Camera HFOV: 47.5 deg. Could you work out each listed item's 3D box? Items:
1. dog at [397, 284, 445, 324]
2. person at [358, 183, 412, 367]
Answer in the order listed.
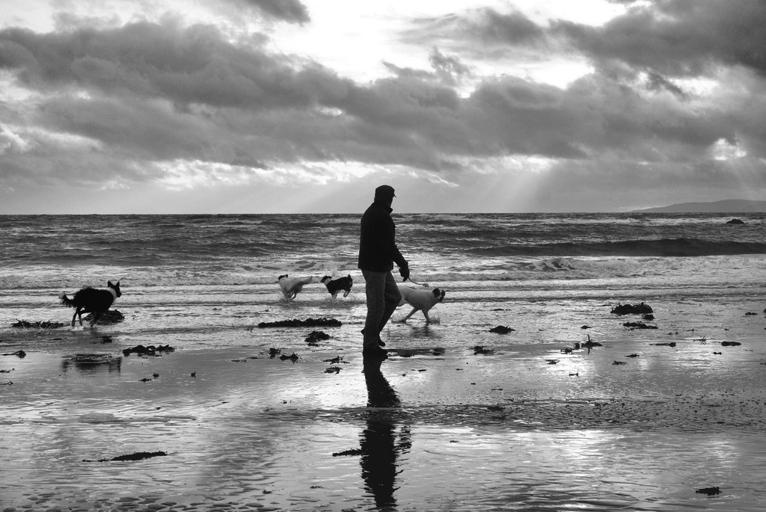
[{"bbox_3d":[0.536,0.914,16.661,1.576,0.678,0.386,10,-23,-34],"label":"dog"},{"bbox_3d":[0.003,0.216,13.356,0.770,2.602,0.876,0,10,1],"label":"person"}]
